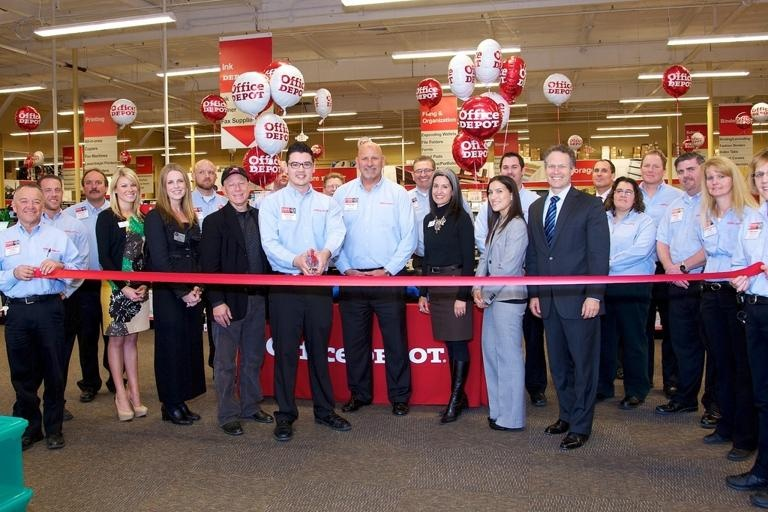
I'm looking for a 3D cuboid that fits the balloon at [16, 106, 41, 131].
[{"bbox_3d":[-7.505,-2.943,13.390,0.387,0.553,1.097,-5,6,-26],"label":"balloon"}]

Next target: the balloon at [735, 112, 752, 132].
[{"bbox_3d":[9.097,-3.401,16.082,0.414,0.519,0.434,6,12,40],"label":"balloon"}]

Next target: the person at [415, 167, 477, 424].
[{"bbox_3d":[0.612,0.375,6.300,0.556,2.448,0.516,-1,6,8],"label":"person"}]

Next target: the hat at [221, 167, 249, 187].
[{"bbox_3d":[-1.430,-0.738,6.085,0.244,0.168,0.330,1,-4,-12],"label":"hat"}]

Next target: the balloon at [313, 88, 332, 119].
[{"bbox_3d":[-1.163,-2.958,12.134,0.285,0.521,0.722,-3,6,-7],"label":"balloon"}]

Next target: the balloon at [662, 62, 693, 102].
[{"bbox_3d":[5.096,-3.074,11.101,0.381,0.595,0.723,1,7,29],"label":"balloon"}]

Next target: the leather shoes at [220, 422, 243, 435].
[{"bbox_3d":[-1.445,1.636,6.076,0.229,0.095,0.092,-3,-2,21],"label":"leather shoes"}]

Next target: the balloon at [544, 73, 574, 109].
[{"bbox_3d":[3.001,-2.888,11.041,0.528,0.614,0.549,16,20,35],"label":"balloon"}]

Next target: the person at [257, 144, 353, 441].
[{"bbox_3d":[-0.748,0.304,5.990,0.775,2.738,0.546,-3,6,-13],"label":"person"}]

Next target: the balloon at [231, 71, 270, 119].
[{"bbox_3d":[-1.813,-2.292,9.016,0.550,0.705,0.567,1,8,0],"label":"balloon"}]

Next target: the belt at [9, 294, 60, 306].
[{"bbox_3d":[-3.163,0.382,5.721,0.451,0.093,0.110,-3,6,-10],"label":"belt"}]

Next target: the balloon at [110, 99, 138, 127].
[{"bbox_3d":[-5.419,-3.025,13.238,0.423,0.508,0.840,-4,6,-16],"label":"balloon"}]

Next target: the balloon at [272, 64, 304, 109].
[{"bbox_3d":[-1.335,-2.377,8.727,0.385,0.585,0.435,3,7,41],"label":"balloon"}]

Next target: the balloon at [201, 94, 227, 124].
[{"bbox_3d":[-3.051,-2.653,11.499,0.505,0.639,0.511,0,4,-21],"label":"balloon"}]

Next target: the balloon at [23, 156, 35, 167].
[{"bbox_3d":[-10.106,-2.691,18.192,0.308,0.393,0.252,-1,5,19],"label":"balloon"}]

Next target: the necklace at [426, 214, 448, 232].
[{"bbox_3d":[0.515,-0.327,6.273,0.037,0.139,0.188,18,-5,-41],"label":"necklace"}]

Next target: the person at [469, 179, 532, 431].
[{"bbox_3d":[1.110,0.439,6.080,0.511,2.397,0.399,0,6,17],"label":"person"}]

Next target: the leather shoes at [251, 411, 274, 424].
[{"bbox_3d":[-1.213,1.583,6.316,0.223,0.085,0.105,-1,0,11],"label":"leather shoes"}]

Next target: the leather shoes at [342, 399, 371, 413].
[{"bbox_3d":[-0.302,1.505,6.513,0.317,0.138,0.118,4,-4,-35],"label":"leather shoes"}]

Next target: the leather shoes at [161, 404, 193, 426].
[{"bbox_3d":[-2.065,1.572,6.322,0.365,0.150,0.140,-1,-5,25],"label":"leather shoes"}]

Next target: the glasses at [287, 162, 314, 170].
[{"bbox_3d":[-0.788,-0.853,5.961,0.222,0.068,0.091,-5,6,-21],"label":"glasses"}]

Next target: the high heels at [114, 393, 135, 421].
[{"bbox_3d":[-2.655,1.546,6.476,0.112,0.130,0.306,4,-1,-38],"label":"high heels"}]

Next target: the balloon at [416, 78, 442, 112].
[{"bbox_3d":[0.802,-2.980,11.537,0.364,0.469,0.360,0,6,20],"label":"balloon"}]

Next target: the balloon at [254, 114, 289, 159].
[{"bbox_3d":[-1.533,-1.631,8.696,0.364,0.682,0.504,1,0,40],"label":"balloon"}]

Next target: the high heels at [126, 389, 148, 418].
[{"bbox_3d":[-2.510,1.530,6.507,0.111,0.145,0.327,3,4,-42],"label":"high heels"}]
